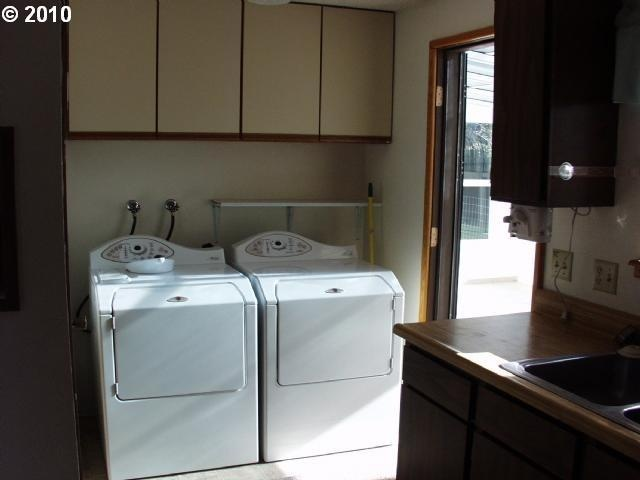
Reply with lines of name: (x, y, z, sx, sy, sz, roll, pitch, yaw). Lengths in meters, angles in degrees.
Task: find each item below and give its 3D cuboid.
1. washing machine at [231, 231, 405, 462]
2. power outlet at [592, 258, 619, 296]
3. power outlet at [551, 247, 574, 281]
washing machine: (-0.048, 0.628, 3.379, 0.915, 1.278, 0.924, -1, 5, -13)
power outlet: (1.202, 0.154, 2.160, 0.015, 0.157, 0.134, -4, 9, -23)
power outlet: (1.101, 0.108, 2.327, 0.017, 0.151, 0.128, -5, 11, -22)
